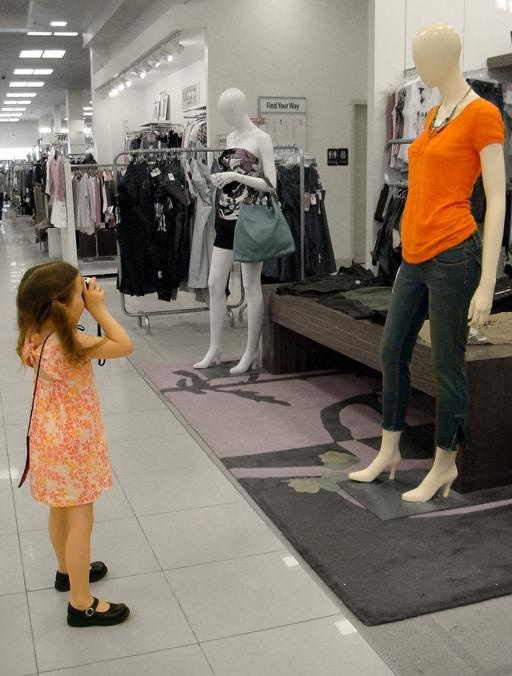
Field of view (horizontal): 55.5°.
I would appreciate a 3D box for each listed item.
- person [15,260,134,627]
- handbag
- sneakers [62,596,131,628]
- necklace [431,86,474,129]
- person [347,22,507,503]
[{"bbox_3d":[-0.409,0.252,1.106,0.231,0.839,0.340,-4,5,-29],"label":"person"},{"bbox_3d":[0.049,-0.729,3.185,0.366,0.449,0.176,-5,6,-35],"label":"handbag"},{"bbox_3d":[-0.352,0.624,1.091,0.118,0.047,0.063,-2,9,-12],"label":"sneakers"},{"bbox_3d":[0.593,-0.700,1.496,0.124,0.127,0.108,2,6,39],"label":"necklace"},{"bbox_3d":[0.598,-0.179,1.619,0.266,1.516,0.516,-3,5,-20],"label":"person"}]
